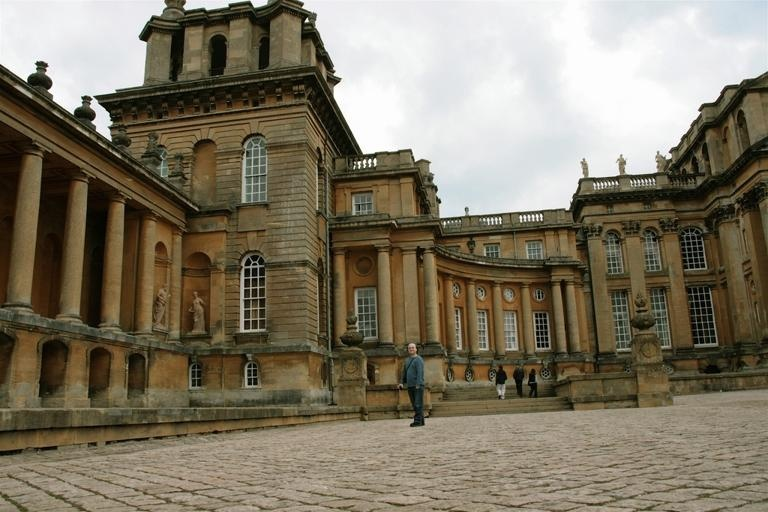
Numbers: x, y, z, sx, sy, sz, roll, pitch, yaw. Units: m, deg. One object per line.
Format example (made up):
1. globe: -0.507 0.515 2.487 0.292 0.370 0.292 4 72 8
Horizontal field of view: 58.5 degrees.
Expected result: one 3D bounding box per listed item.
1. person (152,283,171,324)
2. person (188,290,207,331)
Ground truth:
1. person: -9.677 2.160 29.955 0.383 2.074 0.973 -8 -17 13
2. person: -8.502 2.547 31.435 0.697 2.088 0.576 -1 -17 -8
